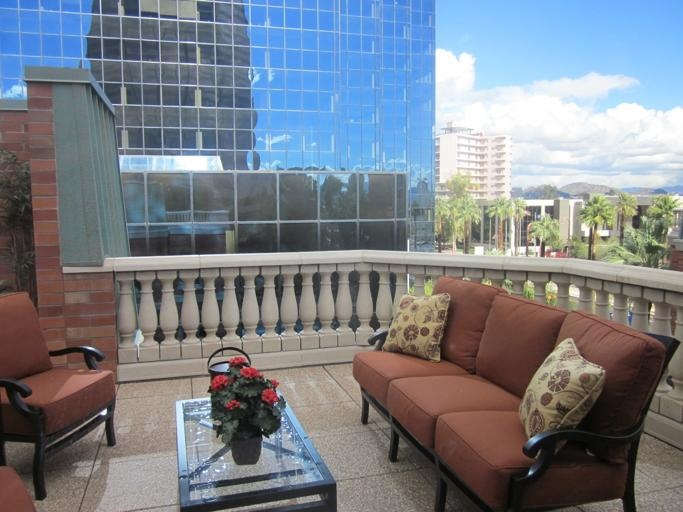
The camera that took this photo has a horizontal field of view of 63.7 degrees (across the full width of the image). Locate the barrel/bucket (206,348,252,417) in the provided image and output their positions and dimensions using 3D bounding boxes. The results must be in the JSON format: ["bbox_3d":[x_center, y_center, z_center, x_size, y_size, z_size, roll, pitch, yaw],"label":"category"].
[{"bbox_3d":[-0.786,0.775,3.802,0.259,0.312,0.268,2,6,0],"label":"barrel/bucket"}]

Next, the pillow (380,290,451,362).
[{"bbox_3d":[0.650,0.590,4.631,0.174,0.542,0.562,29,-12,-38],"label":"pillow"}]

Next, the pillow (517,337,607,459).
[{"bbox_3d":[1.316,0.894,3.435,0.351,0.566,0.626,12,-1,3],"label":"pillow"}]

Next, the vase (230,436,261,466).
[{"bbox_3d":[-0.588,1.181,3.399,0.188,0.148,0.155,1,-10,-7],"label":"vase"}]
